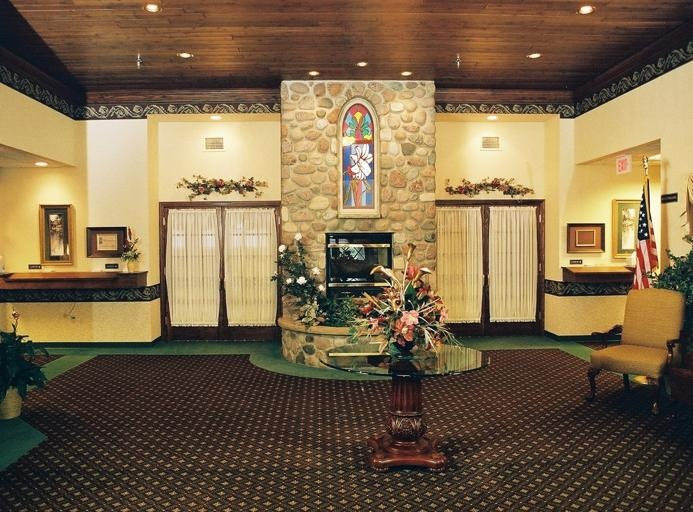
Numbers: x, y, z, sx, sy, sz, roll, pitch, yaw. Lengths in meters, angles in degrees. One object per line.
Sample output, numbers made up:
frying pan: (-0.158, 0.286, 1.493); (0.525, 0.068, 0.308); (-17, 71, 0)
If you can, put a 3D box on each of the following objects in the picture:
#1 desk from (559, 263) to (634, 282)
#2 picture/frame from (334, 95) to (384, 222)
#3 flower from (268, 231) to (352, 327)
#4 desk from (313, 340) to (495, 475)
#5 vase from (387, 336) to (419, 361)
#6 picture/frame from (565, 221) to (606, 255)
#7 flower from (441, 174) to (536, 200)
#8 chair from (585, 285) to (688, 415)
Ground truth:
desk: (4.327, 0.317, 8.541); (1.154, 0.264, 0.396); (0, 9, 4)
picture/frame: (0.203, -1.559, 7.867); (0.638, 1.888, 0.353); (-1, 11, 0)
flower: (-0.515, 0.361, 7.611); (0.858, 1.238, 1.242); (-7, 12, -34)
desk: (0.583, 1.408, 4.658); (1.479, 0.639, 1.240); (0, -1, 1)
vase: (0.548, 0.880, 4.821); (0.310, 0.220, 0.241); (0, 1, 13)
picture/frame: (4.171, -0.334, 8.726); (0.851, 0.492, 0.081); (0, 1, -5)
flower: (2.626, -1.253, 9.108); (1.622, 0.359, 0.197); (-1, 10, -8)
chair: (3.557, 1.080, 6.072); (0.886, 1.310, 1.065); (6, 12, 33)
